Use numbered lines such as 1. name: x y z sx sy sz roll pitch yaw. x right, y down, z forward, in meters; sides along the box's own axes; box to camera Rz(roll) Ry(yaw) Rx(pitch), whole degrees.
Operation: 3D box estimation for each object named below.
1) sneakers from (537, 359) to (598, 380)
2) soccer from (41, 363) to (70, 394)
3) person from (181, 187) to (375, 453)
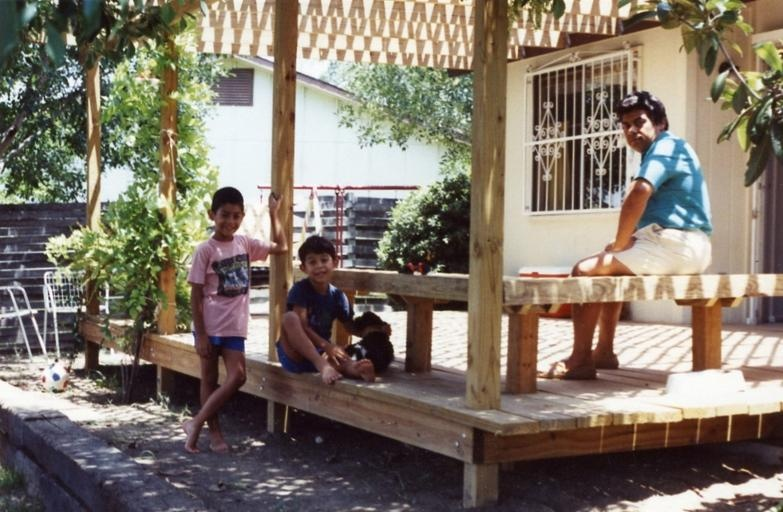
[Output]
1. sneakers: 1.390 0.892 6.055 0.433 0.172 0.182 2 -3 8
2. soccer: -3.447 1.239 7.981 0.277 0.332 0.236 6 7 40
3. person: -1.303 0.493 6.315 0.820 2.097 0.493 -2 6 -18
